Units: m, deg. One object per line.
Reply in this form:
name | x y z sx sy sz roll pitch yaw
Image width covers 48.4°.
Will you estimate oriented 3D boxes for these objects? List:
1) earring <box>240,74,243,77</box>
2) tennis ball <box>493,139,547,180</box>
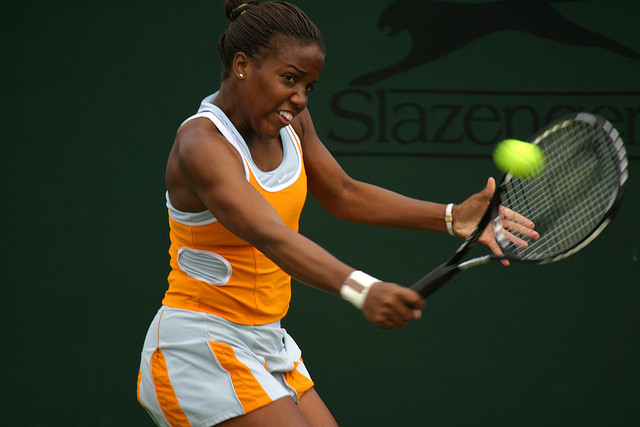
earring | -0.390 -0.687 3.545 0.013 0.015 0.003 -1 1 -6
tennis ball | 1.055 -0.277 3.731 0.284 0.192 0.161 2 3 -26
